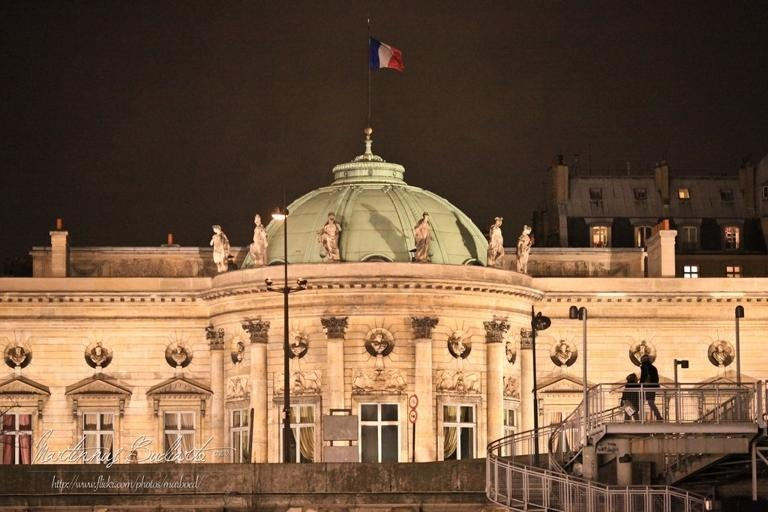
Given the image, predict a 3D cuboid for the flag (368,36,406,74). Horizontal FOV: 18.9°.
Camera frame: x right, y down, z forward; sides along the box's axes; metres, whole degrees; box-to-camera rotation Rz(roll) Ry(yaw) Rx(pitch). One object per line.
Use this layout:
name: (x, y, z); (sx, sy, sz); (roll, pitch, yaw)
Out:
flag: (0.071, -13.447, 150.948); (2.346, 2.187, 0.250); (2, -6, -1)
